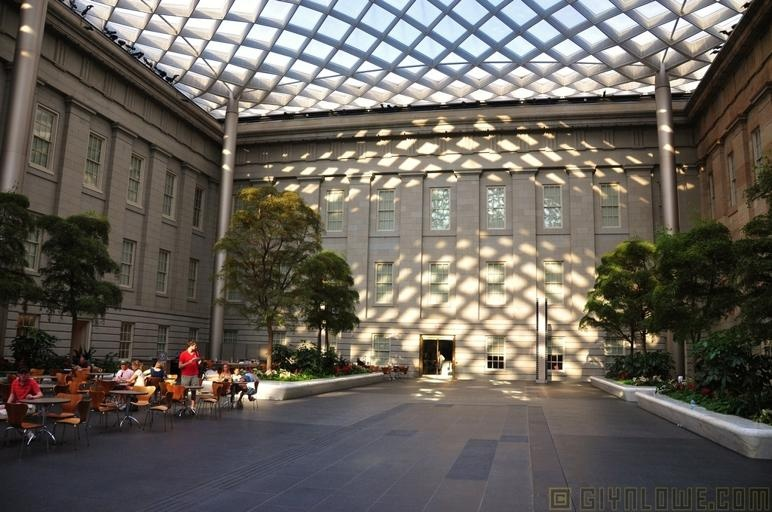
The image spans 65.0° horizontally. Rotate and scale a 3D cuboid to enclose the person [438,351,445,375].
[{"bbox_3d":[3.812,7.341,41.440,0.526,1.372,0.623,1,3,3],"label":"person"}]
